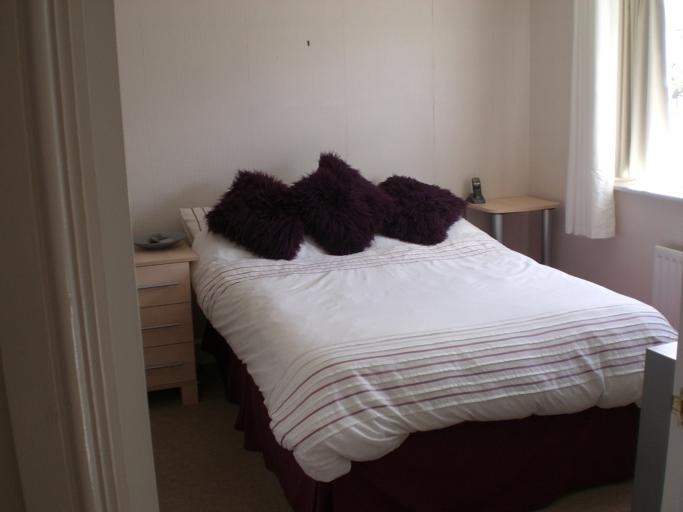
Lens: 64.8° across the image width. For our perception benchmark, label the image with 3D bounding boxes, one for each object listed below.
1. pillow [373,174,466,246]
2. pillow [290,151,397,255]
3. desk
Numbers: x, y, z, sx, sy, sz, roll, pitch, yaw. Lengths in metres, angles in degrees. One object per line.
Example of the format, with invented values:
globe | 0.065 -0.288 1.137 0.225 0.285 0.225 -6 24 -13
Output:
pillow | 0.480 -0.282 3.365 0.439 0.144 0.472 21 52 7
pillow | -0.039 -0.302 3.289 0.629 0.272 0.619 21 43 35
desk | 1.240 -0.289 4.004 0.483 0.586 0.570 -4 11 -16
